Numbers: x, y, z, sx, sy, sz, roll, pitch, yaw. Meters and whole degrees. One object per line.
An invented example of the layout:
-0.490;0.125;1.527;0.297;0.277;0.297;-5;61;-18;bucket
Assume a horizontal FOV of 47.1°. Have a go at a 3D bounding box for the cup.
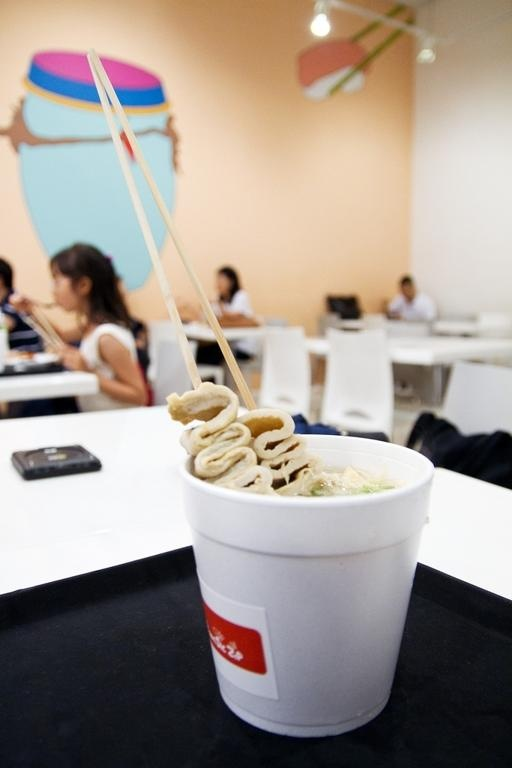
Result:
0.021;0.086;0.249;0.098;0.101;0.092;-3;6;0;cup
